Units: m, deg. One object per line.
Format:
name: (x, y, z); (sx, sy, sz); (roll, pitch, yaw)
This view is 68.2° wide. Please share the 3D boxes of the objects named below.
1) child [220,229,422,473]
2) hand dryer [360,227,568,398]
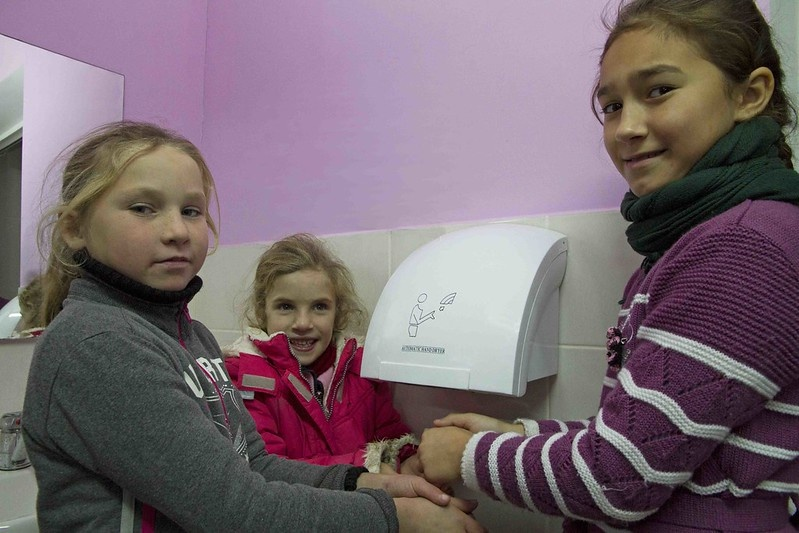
child: (-0.385, 0.244, 1.647); (0.453, 0.668, 0.625); (0, -11, -31)
hand dryer: (0.180, 0.106, 1.612); (0.498, 0.509, 0.427); (-5, -13, 39)
